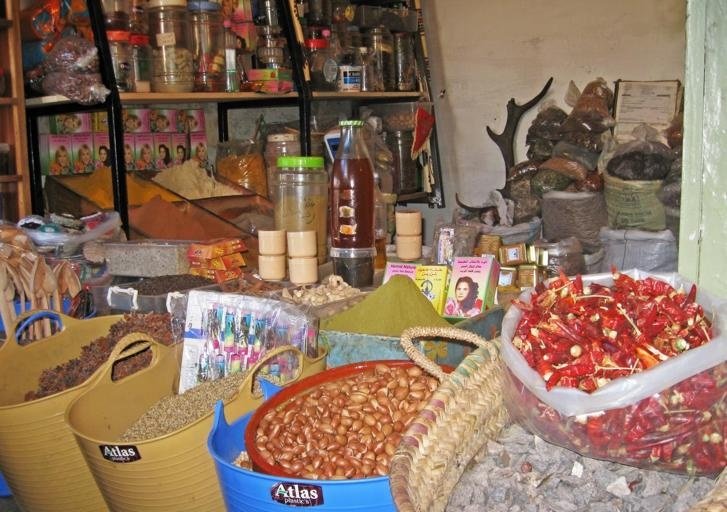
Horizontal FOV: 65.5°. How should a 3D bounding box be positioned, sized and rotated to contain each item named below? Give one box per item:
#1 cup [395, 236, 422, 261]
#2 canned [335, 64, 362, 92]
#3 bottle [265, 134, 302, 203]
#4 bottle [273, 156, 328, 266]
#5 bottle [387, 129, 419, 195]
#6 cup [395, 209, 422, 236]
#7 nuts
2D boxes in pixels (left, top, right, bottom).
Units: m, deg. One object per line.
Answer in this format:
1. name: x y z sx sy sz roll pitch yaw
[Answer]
1. cup: 0.209 -0.035 2.604 0.108 0.105 0.110 0 11 0
2. canned: -0.088 -1.152 3.726 0.175 0.182 0.172 -7 13 -28
3. bottle: -0.533 -0.585 3.401 0.192 0.496 0.251 9 22 31
4. bottle: -0.269 -0.188 2.548 0.221 0.484 0.228 -2 16 1
5. bottle: 0.311 -0.696 4.286 0.138 0.492 0.219 -3 17 6
6. cup: 0.202 -0.152 2.587 0.111 0.102 0.111 -1 9 0
7. nuts: -0.052 0.457 1.649 0.427 0.251 0.557 -14 15 -39
